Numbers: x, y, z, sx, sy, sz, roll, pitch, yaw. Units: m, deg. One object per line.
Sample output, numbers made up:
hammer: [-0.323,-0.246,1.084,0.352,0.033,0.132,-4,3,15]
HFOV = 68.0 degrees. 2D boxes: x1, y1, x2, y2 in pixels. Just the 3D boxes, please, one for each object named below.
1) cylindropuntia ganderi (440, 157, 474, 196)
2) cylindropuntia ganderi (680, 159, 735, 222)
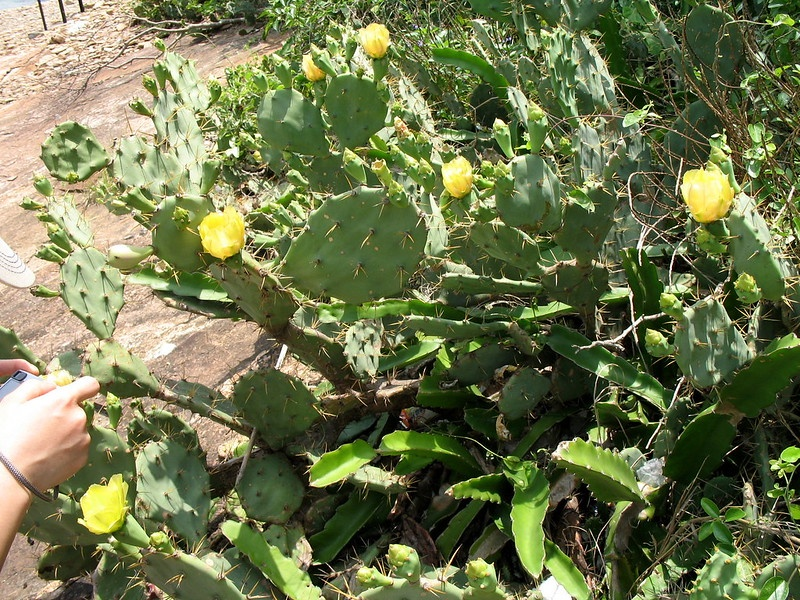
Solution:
cylindropuntia ganderi: [0.157,-0.309,1.574,0.095,0.098,0.110,-2,79,11]
cylindropuntia ganderi: [0.679,-0.220,1.331,0.106,0.107,0.102,0,4,-35]
